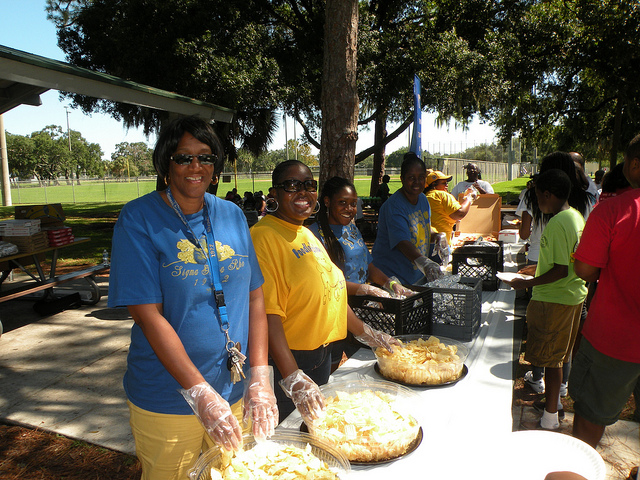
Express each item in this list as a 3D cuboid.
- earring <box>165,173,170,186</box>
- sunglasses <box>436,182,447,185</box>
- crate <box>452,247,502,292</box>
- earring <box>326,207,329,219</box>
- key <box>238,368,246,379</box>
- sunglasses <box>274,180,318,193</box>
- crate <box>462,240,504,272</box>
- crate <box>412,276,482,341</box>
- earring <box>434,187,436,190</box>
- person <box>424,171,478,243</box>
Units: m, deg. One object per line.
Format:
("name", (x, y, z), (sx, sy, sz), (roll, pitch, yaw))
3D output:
("earring", (-0.841, -0.333, 2.493), (0.052, 0.065, 0.014), (0, 3, 12))
("sunglasses", (1.740, -0.792, 6.398), (0.260, 0.035, 0.058), (-13, 17, -43))
("crate", (1.755, 0.214, 5.039), (0.426, 0.611, 0.510), (2, 7, 26))
("earring", (0.066, -0.204, 3.723), (0.024, 0.055, 0.017), (-9, 14, -38))
("key", (-0.429, 0.755, 2.523), (0.015, 0.046, 0.013), (-17, 3, 20))
("sunglasses", (-0.159, -0.359, 3.024), (0.286, 0.084, 0.113), (-3, 12, -10))
("crate", (2.014, 0.156, 5.498), (0.442, 0.349, 0.493), (0, 3, 18))
("crate", (1.103, 0.550, 3.828), (0.376, 0.457, 0.475), (4, 4, 24))
("earring", (1.610, -0.716, 6.326), (0.033, 0.041, 0.010), (6, -18, 11))
("person", (1.770, -0.201, 6.265), (0.646, 1.477, 0.571), (-2, 3, -21))
